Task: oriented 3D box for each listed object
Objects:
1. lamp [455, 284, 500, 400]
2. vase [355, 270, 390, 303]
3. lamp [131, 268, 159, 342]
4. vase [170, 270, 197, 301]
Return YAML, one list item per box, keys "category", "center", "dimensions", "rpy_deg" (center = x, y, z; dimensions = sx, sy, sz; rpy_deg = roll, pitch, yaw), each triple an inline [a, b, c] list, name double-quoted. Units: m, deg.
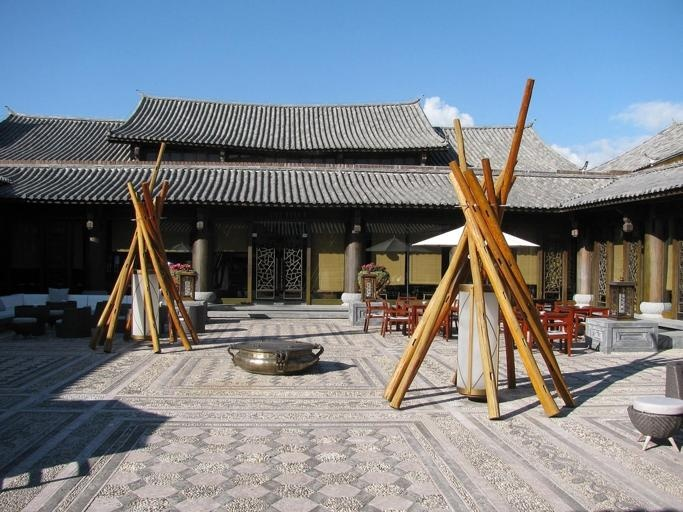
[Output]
- category: "lamp"
  center: [1.822, 1.177, 6.892]
  dimensions: [0.556, 1.546, 0.424]
  rpy_deg: [2, 4, 22]
- category: "vase"
  center: [0.855, 0.920, 15.429]
  dimensions: [0.940, 1.204, 0.827]
  rpy_deg: [1, -4, -9]
- category: "lamp"
  center: [-4.290, 1.075, 11.004]
  dimensions: [0.674, 1.505, 0.540]
  rpy_deg: [0, 3, -4]
- category: "vase"
  center: [-3.930, 0.720, 12.935]
  dimensions: [0.830, 1.075, 0.847]
  rpy_deg: [0, -2, -12]
